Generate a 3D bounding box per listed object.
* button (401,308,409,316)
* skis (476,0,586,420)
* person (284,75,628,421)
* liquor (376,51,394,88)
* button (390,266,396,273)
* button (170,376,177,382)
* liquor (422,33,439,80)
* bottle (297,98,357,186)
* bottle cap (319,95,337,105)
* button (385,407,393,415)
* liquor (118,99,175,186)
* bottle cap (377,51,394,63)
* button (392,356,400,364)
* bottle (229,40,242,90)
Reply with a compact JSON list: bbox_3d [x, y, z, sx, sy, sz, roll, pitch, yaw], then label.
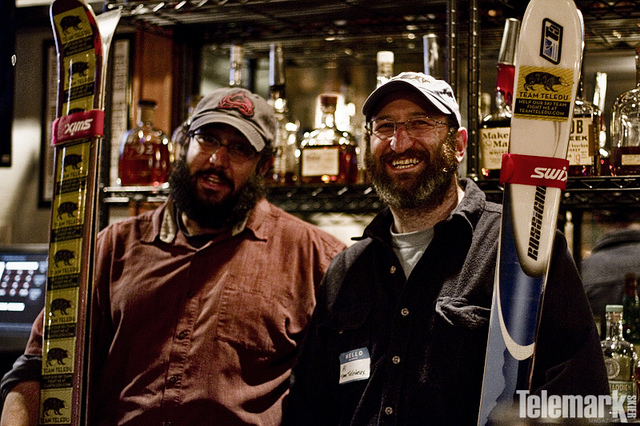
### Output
[{"bbox_3d":[0.267,0.311,2.387,0.023,0.020,0.004,0,0,6],"label":"button"},{"bbox_3d":[0.640,-0.010,2.309,0.197,1.773,0.088,8,4,13],"label":"skis"},{"bbox_3d":[0.452,0.139,2.500,0.506,1.249,0.885,20,-27,-40],"label":"person"},{"bbox_3d":[0.261,-0.581,3.042,0.066,0.061,0.229,10,-40,9],"label":"liquor"},{"bbox_3d":[0.238,0.184,2.468,0.017,0.017,0.006,-4,-2,44],"label":"button"},{"bbox_3d":[-0.492,0.560,2.565,0.016,0.016,0.004,-29,-11,-3],"label":"button"},{"bbox_3d":[0.443,-0.595,3.011,0.061,0.225,0.052,5,-29,-5],"label":"liquor"},{"bbox_3d":[0.011,-0.314,3.021,0.208,0.183,0.359,2,-50,-3],"label":"bottle"},{"bbox_3d":[0.035,-0.455,3.073,0.063,0.035,0.044,-1,-7,0],"label":"bottle cap"},{"bbox_3d":[0.212,0.607,2.337,0.024,0.019,0.004,0,0,13],"label":"button"},{"bbox_3d":[-0.723,-0.286,3.172,0.224,0.365,0.193,0,-4,2],"label":"liquor"},{"bbox_3d":[0.264,-0.625,3.041,0.060,0.043,0.059,0,-1,-26],"label":"bottle cap"},{"bbox_3d":[0.237,0.456,2.361,0.020,0.018,0.006,0,0,10],"label":"button"},{"bbox_3d":[-0.352,-0.616,3.185,0.045,0.149,0.080,0,0,-13],"label":"bottle"}]
